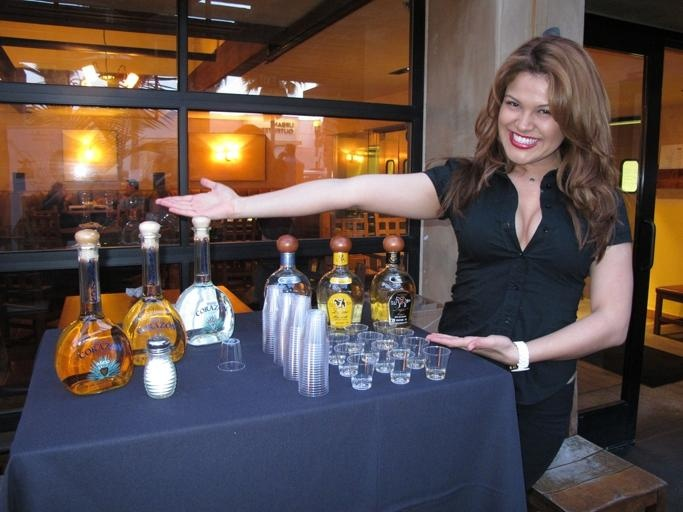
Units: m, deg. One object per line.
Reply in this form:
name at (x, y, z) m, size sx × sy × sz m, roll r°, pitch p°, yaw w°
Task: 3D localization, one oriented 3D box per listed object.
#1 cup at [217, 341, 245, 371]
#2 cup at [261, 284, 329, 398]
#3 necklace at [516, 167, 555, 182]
cup at (-0.307, 0.266, 1.503) m, size 0.079 × 0.076 × 0.078 m, roll -1°, pitch 7°, yaw 0°
cup at (-0.129, 0.229, 1.428) m, size 0.080 × 0.160 × 0.250 m, roll 0°, pitch 6°, yaw -22°
necklace at (0.593, -0.249, 1.718) m, size 0.082 × 0.058 × 0.028 m, roll 2°, pitch 25°, yaw -46°
